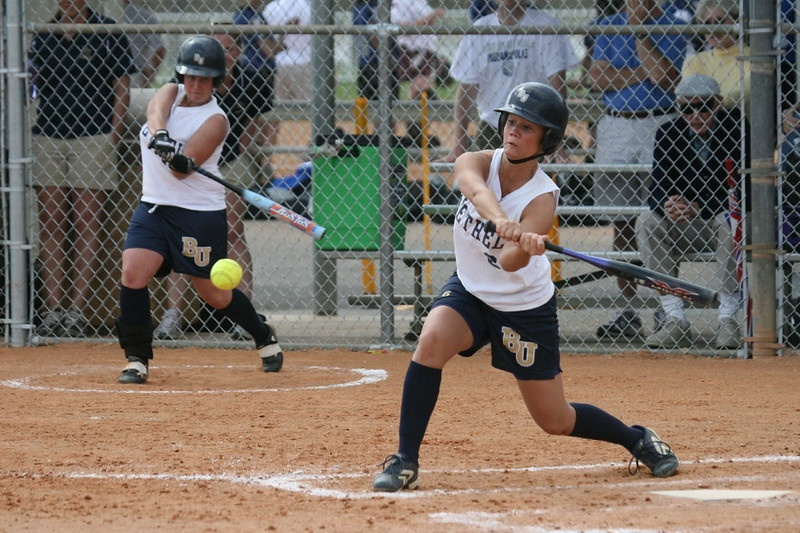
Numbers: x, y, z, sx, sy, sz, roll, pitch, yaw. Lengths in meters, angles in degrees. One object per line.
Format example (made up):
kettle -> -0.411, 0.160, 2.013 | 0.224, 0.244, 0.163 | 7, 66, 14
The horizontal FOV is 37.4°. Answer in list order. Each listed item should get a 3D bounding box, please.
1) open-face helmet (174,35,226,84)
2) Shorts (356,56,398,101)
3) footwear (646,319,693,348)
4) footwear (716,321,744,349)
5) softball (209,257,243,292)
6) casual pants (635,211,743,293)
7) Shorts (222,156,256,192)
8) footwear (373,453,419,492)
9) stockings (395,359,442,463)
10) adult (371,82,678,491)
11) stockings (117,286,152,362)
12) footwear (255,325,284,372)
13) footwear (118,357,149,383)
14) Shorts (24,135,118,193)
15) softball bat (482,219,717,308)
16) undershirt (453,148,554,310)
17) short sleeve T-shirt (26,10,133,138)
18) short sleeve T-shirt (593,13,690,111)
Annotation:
open-face helmet -> -1.402, -1.471, 8.298 | 0.261, 0.281, 0.347 | 5, 22, -3
Shorts -> -0.211, -1.688, 10.557 | 0.385, 0.417, 0.392 | -1, 3, -2
footwear -> 2.180, 0.557, 9.568 | 0.369, 0.246, 0.198 | 1, -1, 2
footwear -> 2.634, 0.563, 9.488 | 0.186, 0.250, 0.137 | 5, 8, 1
softball -> -1.239, 0.062, 8.369 | 0.214, 0.199, 0.211 | -1, 1, -10
casual pants -> 2.334, -0.116, 9.705 | 0.669, 0.783, 0.695 | -4, -41, 9
Shorts -> -1.410, -0.804, 10.295 | 0.314, 0.308, 0.083 | -4, 2, -23
footwear -> -0.036, 1.148, 6.491 | 0.138, 0.137, 0.279 | -1, -7, 41
stockings -> 0.101, 0.815, 6.586 | 0.239, 0.456, 0.186 | -1, 1, 3
adult -> 0.615, 0.092, 6.663 | 1.588, 1.764, 0.410 | -1, 1, -2
stockings -> -1.894, 0.439, 8.461 | 0.233, 0.640, 0.233 | -6, 24, -21
footwear -> -1.002, 0.659, 8.935 | 0.140, 0.407, 0.178 | -11, -7, 40
footwear -> -1.899, 0.760, 8.407 | 0.107, 0.139, 0.279 | -1, -7, 3
Shorts -> -2.798, -0.879, 9.942 | 0.516, 0.376, 0.041 | 1, 18, -11
softball bat -> 1.460, -0.015, 8.426 | 1.824, 0.206, 0.204 | 19, -43, -4
undershirt -> 0.578, -0.193, 6.668 | 0.500, 0.874, 0.669 | -11, 18, -33
short sleeve T-shirt -> -2.695, -1.597, 9.867 | 0.968, 1.066, 0.578 | 3, 9, -3
short sleeve T-shirt -> 2.033, -1.726, 9.921 | 0.838, 0.846, 0.475 | -2, 3, 7
